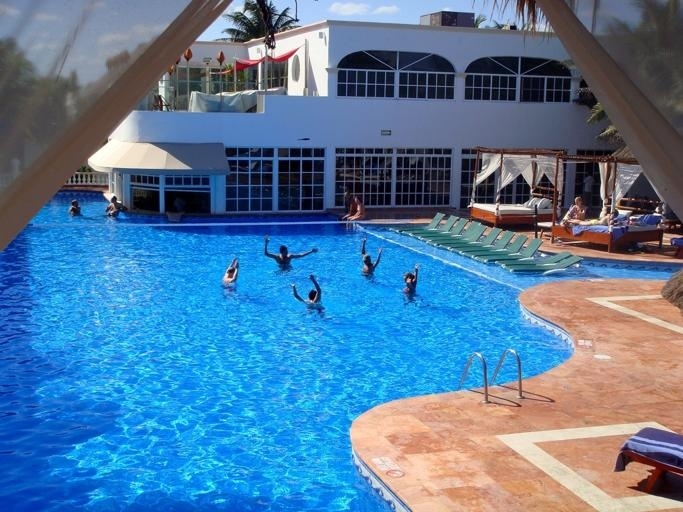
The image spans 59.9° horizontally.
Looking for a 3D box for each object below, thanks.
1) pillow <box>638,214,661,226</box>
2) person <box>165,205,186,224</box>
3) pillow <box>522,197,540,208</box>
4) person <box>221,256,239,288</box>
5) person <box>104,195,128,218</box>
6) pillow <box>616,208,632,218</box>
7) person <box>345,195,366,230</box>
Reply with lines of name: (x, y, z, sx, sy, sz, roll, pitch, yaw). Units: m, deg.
pillow: (10.835, -1.259, 20.910, 0.801, 0.366, 0.406, 0, 13, -6)
person: (-7.606, -1.923, 27.060, 0.714, 0.467, 0.788, -3, 13, -16)
pillow: (8.310, -2.340, 25.650, 0.806, 0.212, 0.567, -21, 23, -21)
person: (-2.981, 0.369, 16.383, 0.338, 0.392, 1.074, 9, 41, 13)
person: (-10.369, -2.261, 27.489, 0.786, 1.360, 0.521, -17, -30, 26)
pillow: (10.672, -1.622, 22.450, 0.571, 0.517, 0.538, 5, 15, 26)
person: (0.473, -2.030, 26.612, 1.031, 1.674, 0.762, -11, 12, -13)
